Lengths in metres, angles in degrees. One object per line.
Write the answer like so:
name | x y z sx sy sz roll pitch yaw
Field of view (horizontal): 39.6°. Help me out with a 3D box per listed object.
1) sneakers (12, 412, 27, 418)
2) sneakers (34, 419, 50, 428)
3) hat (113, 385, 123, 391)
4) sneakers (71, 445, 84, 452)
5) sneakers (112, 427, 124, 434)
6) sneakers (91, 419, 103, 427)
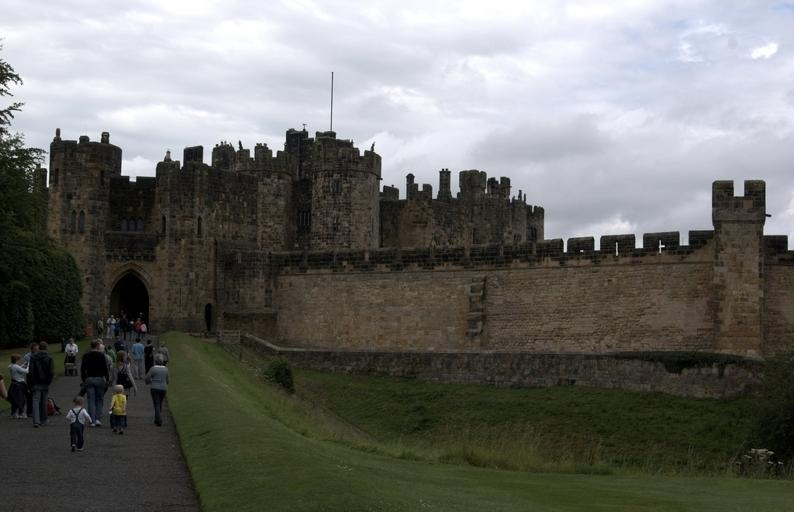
sneakers | -11.805 4.989 34.385 0.474 0.174 0.144 1 3 -13
sneakers | -10.809 5.079 33.432 0.149 0.170 0.449 2 6 16
hat | -8.271 3.943 32.677 0.195 0.202 0.566 2 -3 -17
sneakers | -8.968 5.381 30.831 0.316 0.166 0.167 2 -3 -15
sneakers | -8.240 5.181 32.573 0.275 0.151 0.346 2 -3 -23
sneakers | -9.079 5.062 33.391 0.257 0.208 0.364 -1 -3 43
